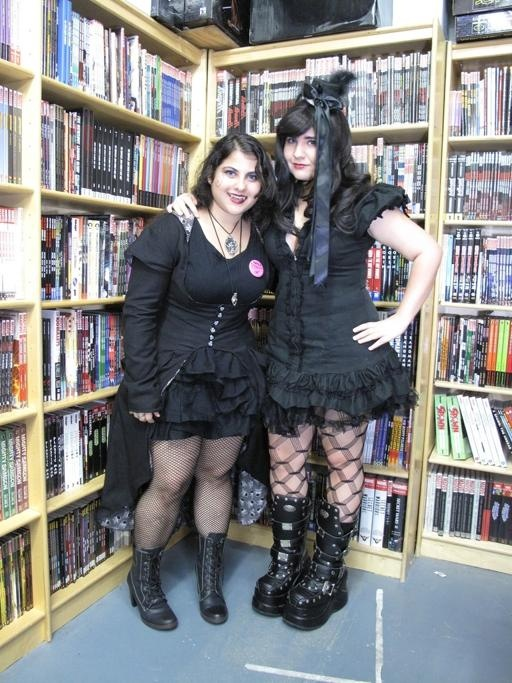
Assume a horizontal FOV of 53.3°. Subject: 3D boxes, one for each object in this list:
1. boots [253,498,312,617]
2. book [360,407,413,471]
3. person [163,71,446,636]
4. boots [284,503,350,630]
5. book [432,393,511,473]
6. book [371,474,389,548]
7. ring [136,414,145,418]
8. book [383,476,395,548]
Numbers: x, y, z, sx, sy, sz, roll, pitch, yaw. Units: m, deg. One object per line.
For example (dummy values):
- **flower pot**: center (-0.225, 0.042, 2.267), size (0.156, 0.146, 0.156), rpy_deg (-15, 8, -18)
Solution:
- **boots**: center (0.092, 0.714, 1.759), size (0.136, 0.334, 0.333), rpy_deg (5, 8, 26)
- **book**: center (0.554, 0.398, 2.211), size (0.201, 0.280, 0.281), rpy_deg (6, -3, 15)
- **person**: center (0.227, 0.062, 1.596), size (0.447, 1.567, 0.585), rpy_deg (2, 1, -25)
- **boots**: center (0.213, 0.756, 1.729), size (0.133, 0.346, 0.340), rpy_deg (5, 1, 33)
- **book**: center (0.901, 0.367, 2.150), size (0.256, 0.366, 0.356), rpy_deg (2, 3, 27)
- **book**: center (0.504, 0.701, 2.076), size (0.079, 0.218, 0.220), rpy_deg (10, -28, 22)
- **ring**: center (-0.340, 0.219, 1.496), size (0.016, 0.008, 0.022), rpy_deg (11, -31, 9)
- **book**: center (0.537, 0.696, 2.066), size (0.044, 0.197, 0.192), rpy_deg (4, -6, 5)
